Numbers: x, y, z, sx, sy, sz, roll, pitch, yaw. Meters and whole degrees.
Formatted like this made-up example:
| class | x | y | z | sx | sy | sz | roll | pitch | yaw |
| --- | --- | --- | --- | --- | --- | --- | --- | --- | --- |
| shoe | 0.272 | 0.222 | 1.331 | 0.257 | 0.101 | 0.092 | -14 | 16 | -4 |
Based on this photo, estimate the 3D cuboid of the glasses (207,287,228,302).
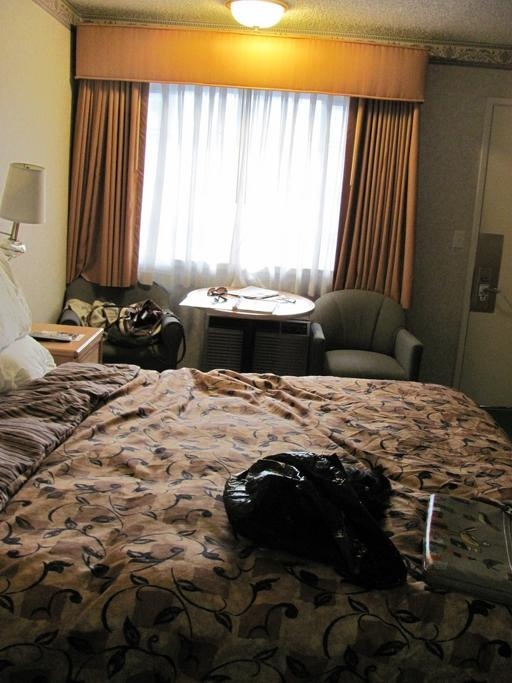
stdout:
| class | x | y | z | sx | sy | sz | roll | pitch | yaw |
| --- | --- | --- | --- | --- | --- | --- | --- | --- | --- |
| glasses | -0.282 | -0.353 | 3.837 | 0.130 | 0.131 | 0.046 | -2 | -9 | 31 |

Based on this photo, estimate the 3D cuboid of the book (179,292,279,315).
| class | x | y | z | sx | sy | sz | roll | pitch | yaw |
| --- | --- | --- | --- | --- | --- | --- | --- | --- | --- |
| book | -0.177 | -0.277 | 3.662 | 0.710 | 0.074 | 0.528 | 8 | 13 | 14 |

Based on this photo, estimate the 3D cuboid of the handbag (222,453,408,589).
| class | x | y | z | sx | sy | sz | roll | pitch | yaw |
| --- | --- | --- | --- | --- | --- | --- | --- | --- | --- |
| handbag | 0.129 | 0.386 | 1.124 | 0.279 | 0.094 | 0.270 | 2 | 21 | 8 |

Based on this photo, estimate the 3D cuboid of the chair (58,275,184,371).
| class | x | y | z | sx | sy | sz | roll | pitch | yaw |
| --- | --- | --- | --- | --- | --- | --- | --- | --- | --- |
| chair | -0.994 | -0.126 | 3.808 | 0.806 | 0.921 | 0.904 | 3 | 10 | -12 |

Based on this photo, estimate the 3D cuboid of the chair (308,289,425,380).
| class | x | y | z | sx | sy | sz | roll | pitch | yaw |
| --- | --- | --- | --- | --- | --- | --- | --- | --- | --- |
| chair | 0.751 | -0.048 | 3.606 | 0.659 | 0.687 | 0.648 | 1 | 6 | -1 |
